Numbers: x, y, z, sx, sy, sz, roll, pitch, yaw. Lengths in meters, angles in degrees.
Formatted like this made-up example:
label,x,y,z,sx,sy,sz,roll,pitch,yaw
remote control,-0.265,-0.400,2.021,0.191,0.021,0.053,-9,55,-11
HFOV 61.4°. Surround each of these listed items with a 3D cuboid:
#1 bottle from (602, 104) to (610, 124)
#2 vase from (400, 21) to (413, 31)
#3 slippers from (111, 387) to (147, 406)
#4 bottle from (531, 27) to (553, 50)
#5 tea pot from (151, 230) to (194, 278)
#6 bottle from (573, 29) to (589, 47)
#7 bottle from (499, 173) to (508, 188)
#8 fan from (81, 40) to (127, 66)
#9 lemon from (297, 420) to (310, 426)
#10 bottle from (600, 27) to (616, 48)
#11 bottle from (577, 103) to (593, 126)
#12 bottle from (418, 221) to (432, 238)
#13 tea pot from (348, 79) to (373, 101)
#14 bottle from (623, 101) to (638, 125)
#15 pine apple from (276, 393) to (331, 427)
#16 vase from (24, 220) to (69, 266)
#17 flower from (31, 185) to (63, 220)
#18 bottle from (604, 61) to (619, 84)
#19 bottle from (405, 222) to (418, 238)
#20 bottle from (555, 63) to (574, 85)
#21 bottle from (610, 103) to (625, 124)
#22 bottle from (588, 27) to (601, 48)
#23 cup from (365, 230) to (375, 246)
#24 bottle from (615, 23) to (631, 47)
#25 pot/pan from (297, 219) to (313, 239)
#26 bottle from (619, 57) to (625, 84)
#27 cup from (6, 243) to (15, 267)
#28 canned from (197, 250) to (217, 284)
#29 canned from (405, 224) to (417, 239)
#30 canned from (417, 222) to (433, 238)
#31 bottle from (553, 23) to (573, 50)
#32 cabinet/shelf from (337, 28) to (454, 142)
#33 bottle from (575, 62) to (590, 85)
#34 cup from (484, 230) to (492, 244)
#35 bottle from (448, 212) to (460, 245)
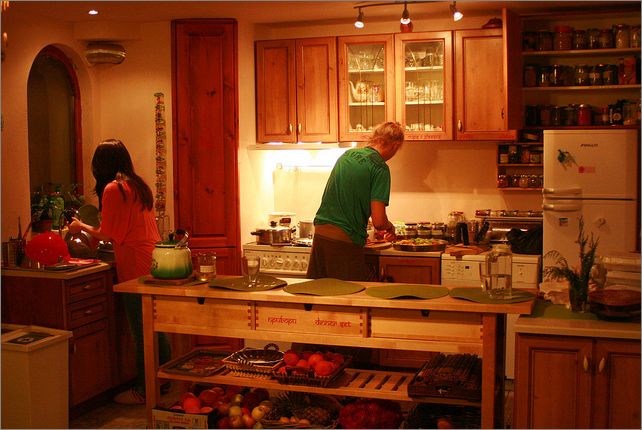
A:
label,x,y,z,sx,sy,sz,roll,pitch,yaw
bottle,2.622,-0.925,4.973,0.069,0.177,0.068,-1,5,0
vase,0.737,-1.620,4.630,0.106,0.095,0.099,1,-1,4
slippers,-1.592,1.498,4.515,0.275,0.095,0.133,4,0,2
bottle,2.041,-1.638,5.040,0.177,0.183,0.174,0,0,7
tea pot,-1.027,0.276,3.775,0.322,0.335,0.298,1,-3,0
bottle,2.385,-1.625,4.973,0.155,0.167,0.153,0,4,7
bottle,1.732,-0.328,5.128,0.084,0.110,0.114,-1,-3,27
fan,-2.133,-1.600,5.357,0.279,0.140,0.276,1,8,3
lemon,-0.106,1.300,3.385,0.037,0.030,0.030,3,-22,19
bottle,2.624,-1.619,4.936,0.131,0.182,0.064,-2,5,-9
bottle,2.451,-0.932,5.006,0.133,0.190,0.082,0,6,12
bottle,0.982,0.130,5.107,0.122,0.147,0.141,-1,-3,42
tea pot,0.385,-1.215,5.220,0.226,0.153,0.174,2,6,19
bottle,2.794,-0.925,4.875,0.108,0.204,0.059,2,6,24
pine apple,-0.110,1.221,3.457,0.304,0.160,0.171,2,6,15
vase,-2.177,0.240,4.291,0.273,0.117,0.280,11,24,-34
flower,-2.518,-0.120,4.964,0.267,0.307,0.769,-4,6,-28
bottle,2.656,-1.292,4.951,0.134,0.184,0.046,1,6,22
bottle,0.858,0.145,5.120,0.127,0.187,0.125,0,-1,0
bottle,2.260,-1.309,5.012,0.204,0.213,0.205,1,3,30
bottle,2.695,-0.926,4.927,0.114,0.192,0.057,2,6,24
bottle,2.501,-1.625,4.952,0.106,0.181,0.048,1,6,22
cup,0.467,0.210,5.039,0.122,0.112,0.121,1,-1,0
bottle,2.727,-1.625,4.886,0.129,0.223,0.071,2,6,26
pot/pan,-0.134,0.126,5.404,0.221,0.204,0.146,0,0,0
bottle,2.740,-1.314,4.920,0.044,0.239,0.055,-1,5,2
cup,-2.512,0.316,4.393,0.093,0.192,0.041,0,6,13
canned,-0.776,0.352,3.676,0.177,0.246,0.168,0,-1,-4
canned,0.858,0.148,5.120,0.131,0.140,0.129,0,-1,-6
canned,0.980,0.139,5.109,0.127,0.150,0.142,0,-1,-24
bottle,2.223,-1.632,4.974,0.214,0.230,0.210,0,2,0
cabinet/shelf,0.748,-1.260,5.168,1.280,1.075,0.419,0,2,13
bottle,2.417,-1.302,5.006,0.123,0.190,0.080,1,6,23
cup,1.563,0.210,5.112,0.093,0.099,0.105,1,0,2
bottle,1.273,0.117,5.154,0.126,0.285,0.181,0,6,14
